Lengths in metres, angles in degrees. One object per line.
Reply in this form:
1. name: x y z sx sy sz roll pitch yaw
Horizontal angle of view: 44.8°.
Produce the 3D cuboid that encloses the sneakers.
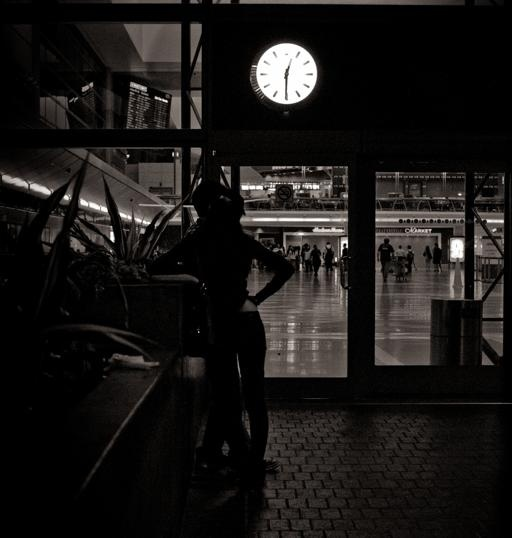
1. sneakers: -0.129 1.093 3.264 0.480 0.259 0.176 -3 7 15
